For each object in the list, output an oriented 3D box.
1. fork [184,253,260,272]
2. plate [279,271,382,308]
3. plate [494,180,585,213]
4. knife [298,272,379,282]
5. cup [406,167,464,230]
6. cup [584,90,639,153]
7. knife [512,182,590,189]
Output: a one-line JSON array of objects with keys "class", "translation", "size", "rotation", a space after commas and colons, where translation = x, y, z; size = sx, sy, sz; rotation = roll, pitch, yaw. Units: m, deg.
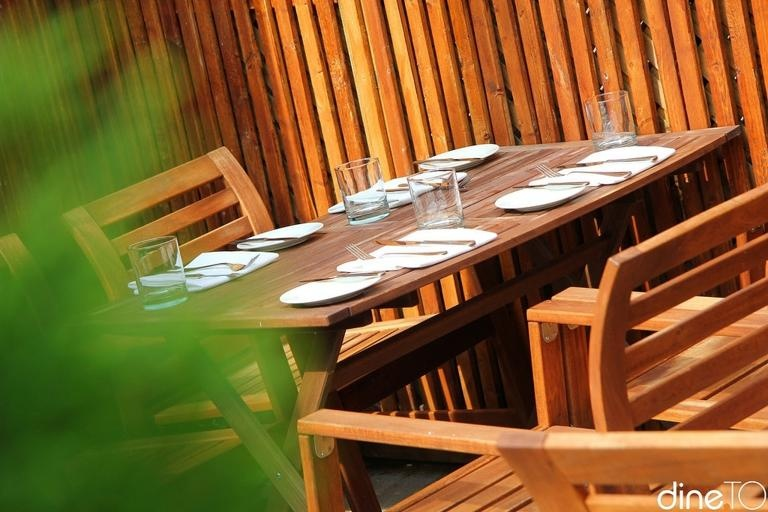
[{"class": "fork", "translation": [-0.443, 0.015, 1.749], "size": [0.094, 0.012, 0.104], "rotation": [-2, 19, 18]}, {"class": "plate", "translation": [-0.111, 0.071, 1.300], "size": [0.214, 0.041, 0.129], "rotation": [-3, 18, 25]}, {"class": "plate", "translation": [0.376, -0.142, 1.574], "size": [0.179, 0.039, 0.197], "rotation": [-22, 20, -36]}, {"class": "knife", "translation": [-0.094, 0.045, 1.370], "size": [0.155, 0.017, 0.017], "rotation": [1, 26, 18]}, {"class": "cup", "translation": [0.110, -0.123, 1.628], "size": [0.148, 0.158, 0.145], "rotation": [-21, 2, 1]}, {"class": "cup", "translation": [0.666, -0.399, 1.916], "size": [0.150, 0.160, 0.144], "rotation": [-8, 17, 2]}, {"class": "knife", "translation": [0.424, -0.179, 1.619], "size": [0.181, 0.020, 0.016], "rotation": [9, 47, 46]}]
